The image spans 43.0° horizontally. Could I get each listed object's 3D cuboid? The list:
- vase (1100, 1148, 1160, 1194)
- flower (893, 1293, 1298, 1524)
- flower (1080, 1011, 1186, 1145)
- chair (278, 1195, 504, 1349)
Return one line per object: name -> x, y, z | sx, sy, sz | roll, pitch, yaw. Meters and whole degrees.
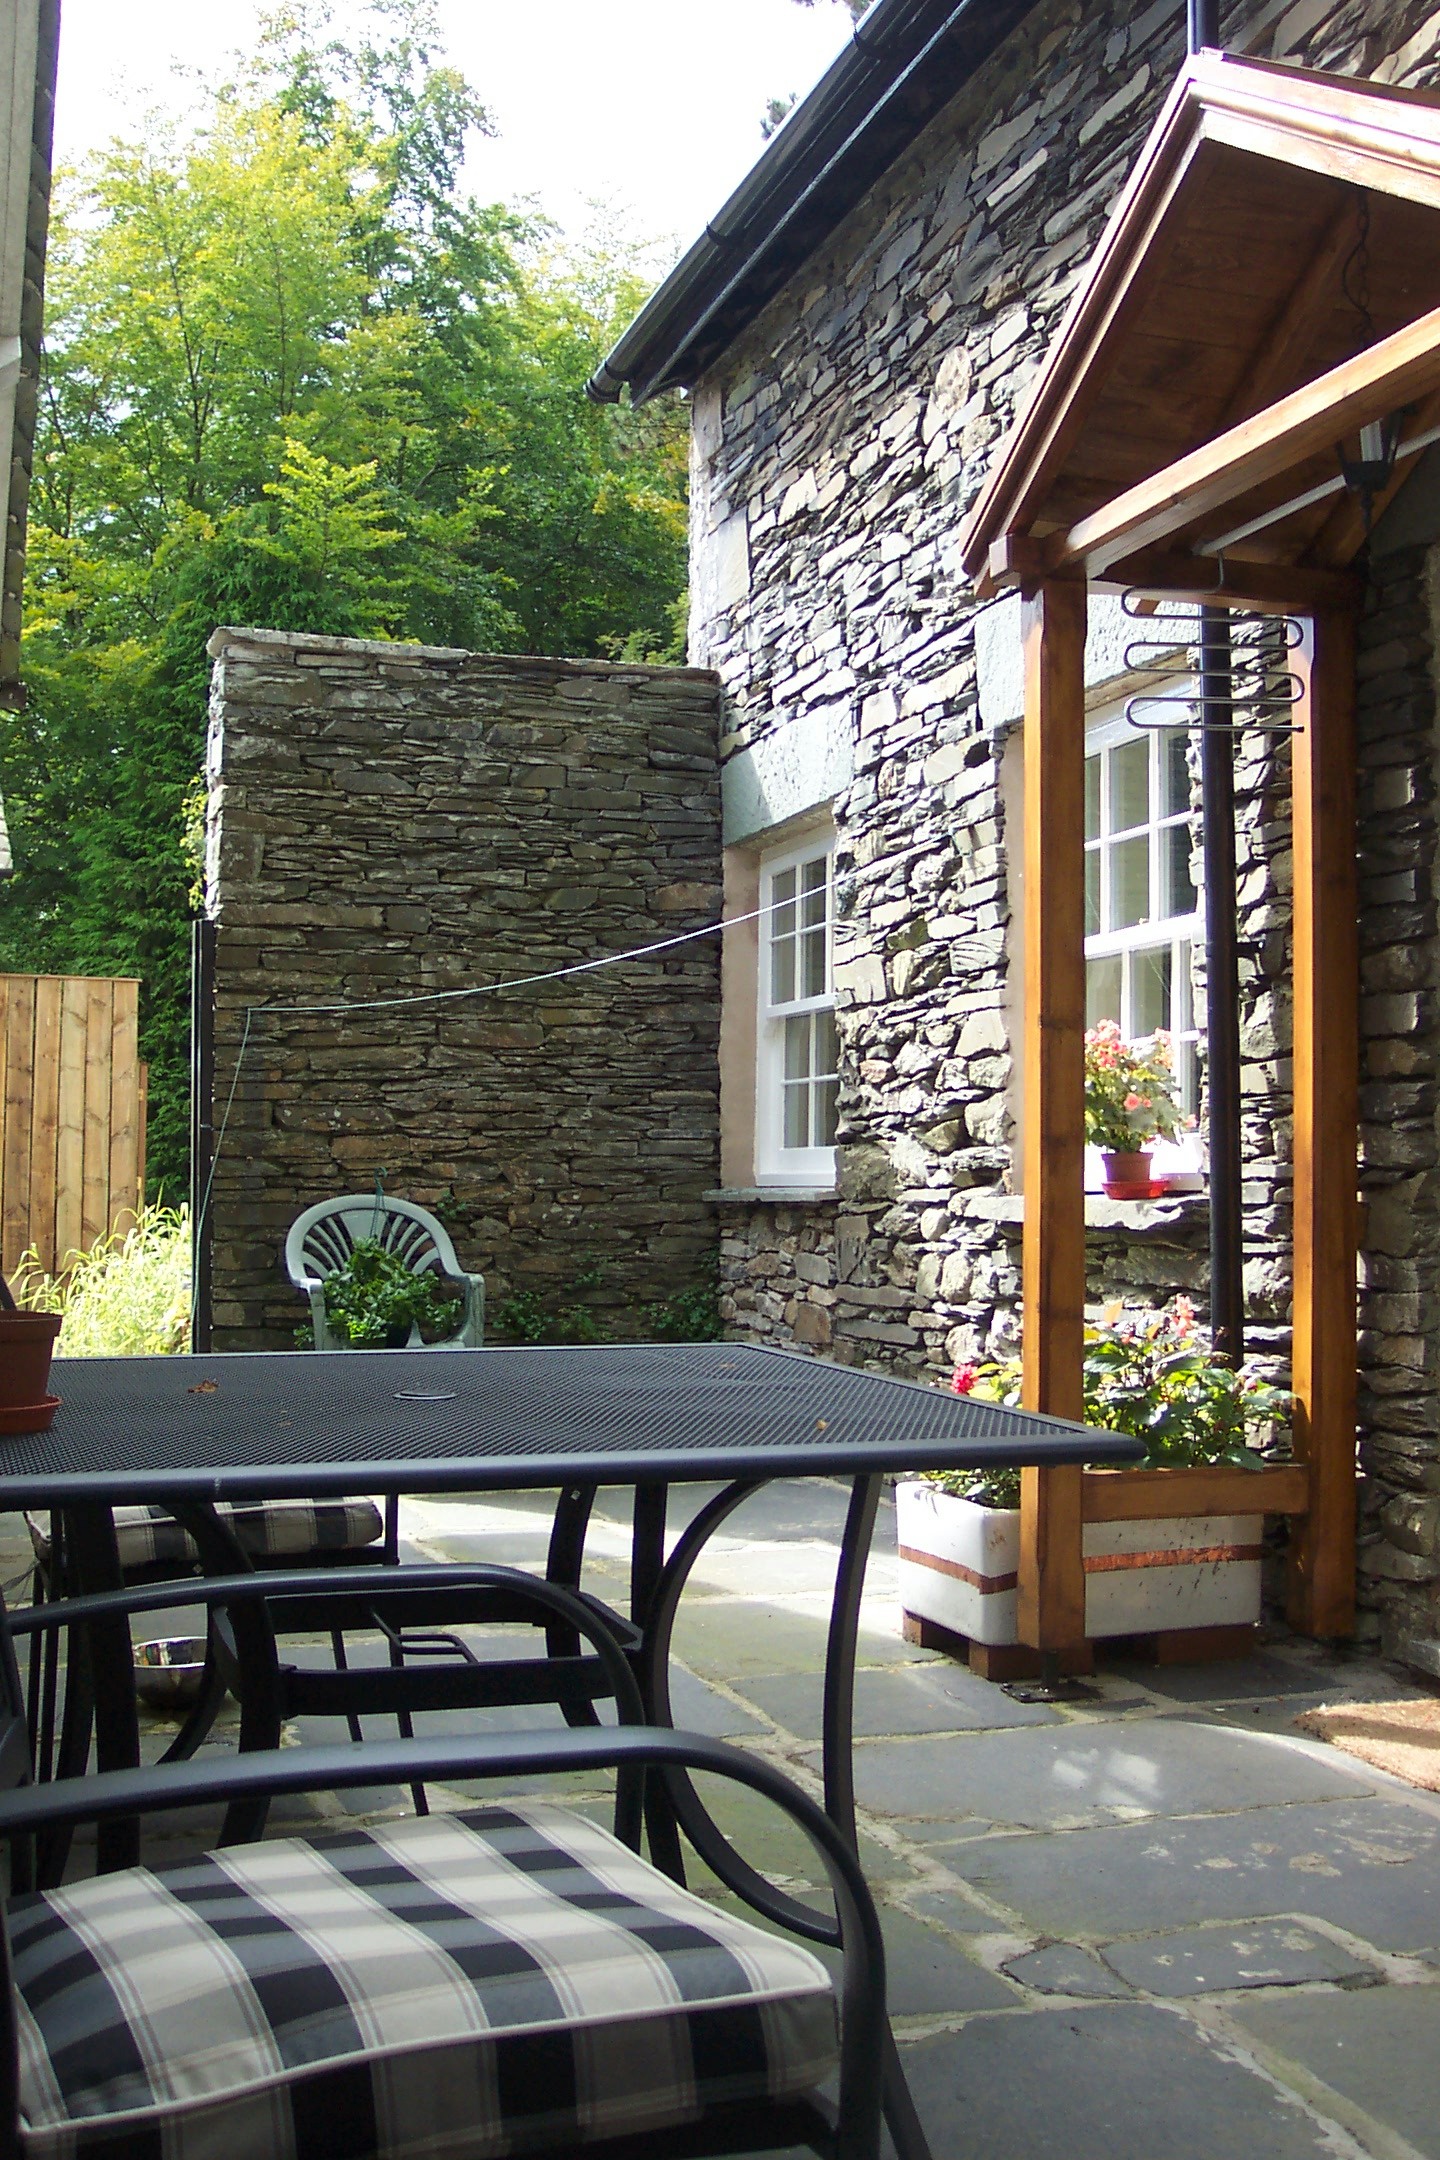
vase -> 0.901, 0.197, 3.976 | 0.101, 0.072, 0.096 | 0, -13, 0
flower -> 0.822, 0.597, 3.694 | 0.650, 0.419, 0.620 | -5, 7, 1
flower -> 0.908, 0.014, 4.047 | 0.195, 0.288, 0.206 | 0, -4, 11
chair -> -1.149, 0.593, 6.365 | 0.674, 0.844, 0.667 | 0, -9, -23
